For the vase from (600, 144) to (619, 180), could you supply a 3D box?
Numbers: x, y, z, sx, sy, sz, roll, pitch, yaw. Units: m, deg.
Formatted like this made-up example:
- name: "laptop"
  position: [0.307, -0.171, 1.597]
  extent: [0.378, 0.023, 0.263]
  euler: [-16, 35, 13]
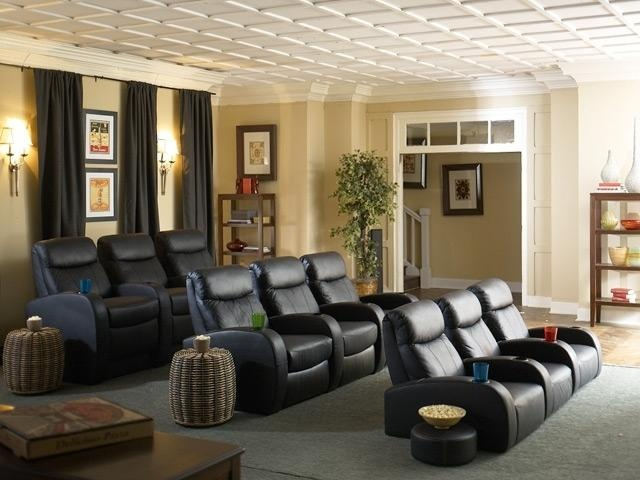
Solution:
- name: "vase"
  position: [4.257, -1.075, 7.135]
  extent: [0.213, 0.470, 0.192]
  euler: [-5, 5, -43]

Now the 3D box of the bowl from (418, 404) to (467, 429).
- name: "bowl"
  position: [0.837, 1.197, 3.304]
  extent: [0.302, 0.135, 0.242]
  euler: [0, 4, 14]

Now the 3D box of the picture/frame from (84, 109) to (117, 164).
- name: "picture/frame"
  position: [-3.090, -1.443, 6.893]
  extent: [0.044, 0.757, 0.498]
  euler: [1, 4, 33]

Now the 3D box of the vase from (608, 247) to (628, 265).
- name: "vase"
  position: [4.341, 0.237, 7.095]
  extent: [0.297, 0.248, 0.258]
  euler: [-1, -4, 5]

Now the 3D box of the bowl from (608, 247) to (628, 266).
- name: "bowl"
  position: [4.342, 0.247, 7.095]
  extent: [0.285, 0.253, 0.280]
  euler: [-1, 0, 0]

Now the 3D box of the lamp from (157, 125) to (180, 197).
- name: "lamp"
  position: [-2.445, -1.225, 7.833]
  extent: [0.357, 1.030, 0.187]
  euler: [-4, 4, -36]

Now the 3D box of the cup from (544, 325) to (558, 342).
- name: "cup"
  position: [2.114, 0.860, 4.466]
  extent: [0.084, 0.142, 0.257]
  euler: [0, 4, 30]

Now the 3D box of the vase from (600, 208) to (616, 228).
- name: "vase"
  position: [4.213, -0.300, 7.137]
  extent: [0.300, 0.270, 0.254]
  euler: [-1, -2, 16]

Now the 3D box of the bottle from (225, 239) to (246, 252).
- name: "bottle"
  position: [-1.474, 0.092, 8.637]
  extent: [0.278, 0.148, 0.241]
  euler: [0, -2, -6]

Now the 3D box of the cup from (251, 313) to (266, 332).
- name: "cup"
  position: [-0.525, 0.712, 4.261]
  extent: [0.194, 0.157, 0.172]
  euler: [0, -5, 2]

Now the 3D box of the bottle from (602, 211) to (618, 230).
- name: "bottle"
  position: [4.234, -0.286, 7.139]
  extent: [0.181, 0.264, 0.142]
  euler: [1, 4, 37]
